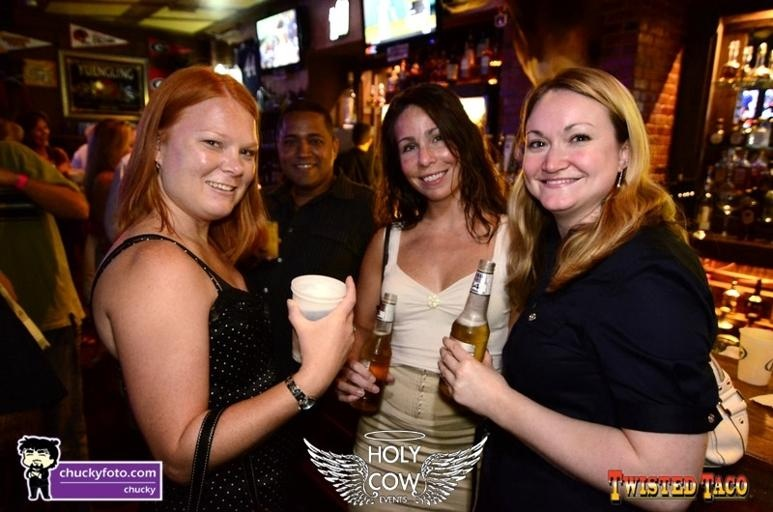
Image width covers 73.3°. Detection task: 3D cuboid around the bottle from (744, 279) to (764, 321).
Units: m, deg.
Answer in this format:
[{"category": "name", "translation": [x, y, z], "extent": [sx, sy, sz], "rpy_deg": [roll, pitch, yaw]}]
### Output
[{"category": "bottle", "translation": [2.922, 0.338, 4.120], "extent": [0.116, 0.327, 0.326], "rpy_deg": [8, 10, 35]}]

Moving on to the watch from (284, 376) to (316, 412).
[{"category": "watch", "translation": [-0.327, 0.515, 1.942], "extent": [0.064, 0.099, 0.101], "rpy_deg": [-36, 15, -18]}]

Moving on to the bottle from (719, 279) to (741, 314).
[{"category": "bottle", "translation": [2.818, 0.327, 4.260], "extent": [0.122, 0.251, 0.283], "rpy_deg": [8, 10, 34]}]

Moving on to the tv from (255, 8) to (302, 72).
[{"category": "tv", "translation": [-1.613, -3.316, 7.842], "extent": [1.022, 0.949, 0.108], "rpy_deg": [3, 26, 32]}]

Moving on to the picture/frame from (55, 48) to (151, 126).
[{"category": "picture/frame", "translation": [-2.568, -1.557, 4.768], "extent": [0.048, 0.558, 0.934], "rpy_deg": [15, 20, 21]}]
